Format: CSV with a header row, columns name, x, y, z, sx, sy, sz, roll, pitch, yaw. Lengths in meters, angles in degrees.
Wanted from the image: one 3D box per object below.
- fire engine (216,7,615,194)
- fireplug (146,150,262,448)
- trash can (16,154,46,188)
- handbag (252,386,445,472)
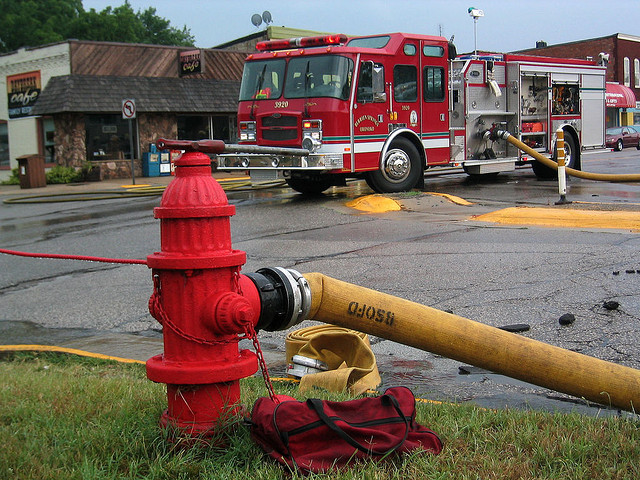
name,x,y,z,sx,sy,sz,roll,pitch,yaw
fire engine,3.208,-3.213,16.976,12.082,3.528,2.624,-11,14,-36
fireplug,-0.587,0.256,3.744,0.681,1.473,0.711,3,8,38
trash can,-9.717,-2.317,22.588,0.817,1.123,0.672,-9,12,-28
handbag,0.164,0.973,3.400,0.588,0.196,0.483,6,-12,-34
